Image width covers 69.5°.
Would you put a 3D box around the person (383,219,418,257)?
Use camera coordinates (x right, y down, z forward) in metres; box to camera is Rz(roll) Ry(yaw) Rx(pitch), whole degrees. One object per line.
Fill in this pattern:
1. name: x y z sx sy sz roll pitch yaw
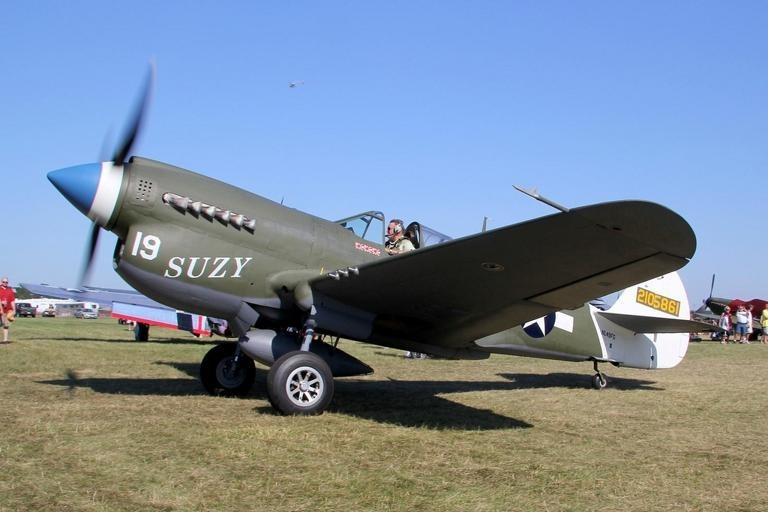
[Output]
1. person: 0.220 -0.310 8.438 0.447 0.492 1.177 -9 8 -13

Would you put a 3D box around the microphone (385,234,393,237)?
1. microphone: 0.043 -0.311 8.322 0.065 0.043 0.026 9 14 32

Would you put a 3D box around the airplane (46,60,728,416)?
1. airplane: 0.480 0.365 7.002 6.646 2.022 7.334 6 -7 -26

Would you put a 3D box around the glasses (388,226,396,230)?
1. glasses: 0.098 -0.416 8.289 0.067 0.043 0.043 7 -6 -13

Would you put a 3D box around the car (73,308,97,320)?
1. car: -31.375 6.065 58.249 2.351 1.077 3.589 4 -8 -33
